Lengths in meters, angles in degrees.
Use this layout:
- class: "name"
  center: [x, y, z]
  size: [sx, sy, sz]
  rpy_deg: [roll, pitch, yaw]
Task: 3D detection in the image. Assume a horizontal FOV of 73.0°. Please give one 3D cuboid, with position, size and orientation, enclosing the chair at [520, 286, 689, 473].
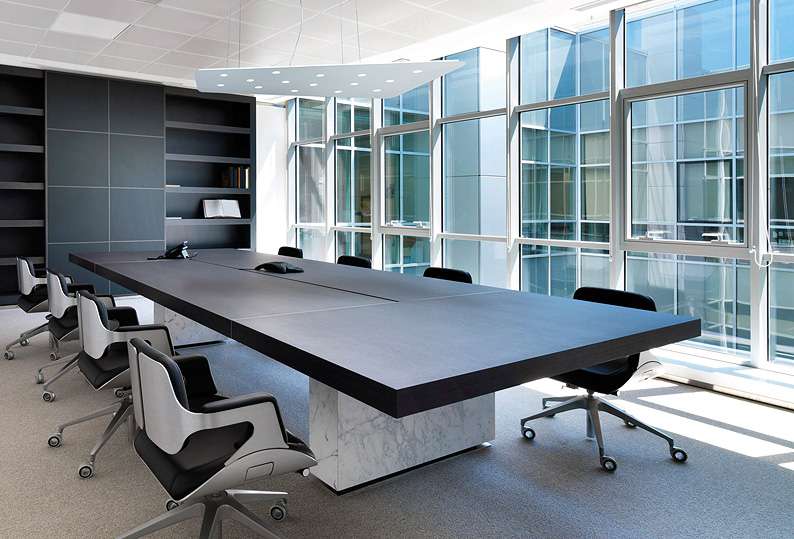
- class: "chair"
  center: [1.637, 0.788, 4.418]
  size: [1.198, 1.090, 1.273]
  rpy_deg: [0, -3, 42]

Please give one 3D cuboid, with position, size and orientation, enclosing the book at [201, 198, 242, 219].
- class: "book"
  center: [-3.208, -1.107, 9.750]
  size: [0.602, 0.384, 0.118]
  rpy_deg: [2, -16, -25]

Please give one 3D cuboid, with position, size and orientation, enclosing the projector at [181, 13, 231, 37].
- class: "projector"
  center: [-1.935, -2.495, 5.468]
  size: [0.467, 0.190, 0.284]
  rpy_deg: [0, 14, 1]
